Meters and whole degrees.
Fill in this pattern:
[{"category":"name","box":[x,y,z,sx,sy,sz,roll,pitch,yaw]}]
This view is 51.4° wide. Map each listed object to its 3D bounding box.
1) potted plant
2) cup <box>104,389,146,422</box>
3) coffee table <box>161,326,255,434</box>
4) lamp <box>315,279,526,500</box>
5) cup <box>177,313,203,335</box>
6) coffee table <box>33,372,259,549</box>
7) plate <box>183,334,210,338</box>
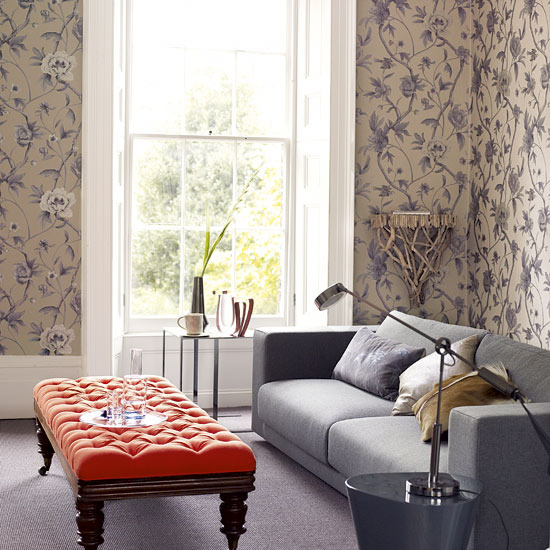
[{"category":"potted plant","box":[-0.448,-0.031,4.101,0.275,0.829,0.599,1,-1,-5]},{"category":"cup","box":[-0.537,0.474,2.086,0.122,0.124,0.125,1,1,0]},{"category":"coffee table","box":[-0.442,0.676,3.705,0.760,0.731,0.663,3,-11,-15]},{"category":"lamp","box":[0.527,0.309,1.673,0.714,0.548,0.645,2,-2,-24]},{"category":"cup","box":[-0.555,0.324,3.779,0.122,0.143,0.190,0,0,-23]},{"category":"coffee table","box":[-0.556,0.673,2.194,0.609,0.577,1.131,2,-2,-24]},{"category":"plate","box":[-0.504,0.394,3.665,0.191,0.020,0.070,2,-2,-32]}]
